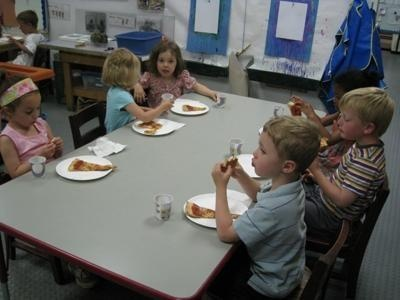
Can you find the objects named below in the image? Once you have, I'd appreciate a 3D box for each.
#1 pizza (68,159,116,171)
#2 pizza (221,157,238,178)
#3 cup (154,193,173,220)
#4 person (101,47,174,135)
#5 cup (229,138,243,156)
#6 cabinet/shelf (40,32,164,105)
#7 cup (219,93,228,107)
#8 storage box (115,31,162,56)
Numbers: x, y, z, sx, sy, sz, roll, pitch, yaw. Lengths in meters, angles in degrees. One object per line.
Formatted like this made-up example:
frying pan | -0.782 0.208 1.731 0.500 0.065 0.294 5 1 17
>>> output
pizza | -0.618 0.093 1.635 0.151 0.020 0.100 7 18 -4
pizza | 0.150 0.074 1.420 0.075 0.086 0.051 -32 63 -27
cup | -0.176 0.272 1.375 0.092 0.112 0.099 -1 -8 0
person | -0.508 -0.381 2.394 0.493 0.790 0.498 28 28 34
cup | 0.206 -0.015 1.707 0.056 0.095 0.058 5 30 -3
cabinet/shelf | -1.558 -1.123 4.614 1.220 0.992 0.699 11 27 14
cup | 0.205 -0.441 2.636 0.078 0.107 0.101 5 14 19
storage box | -0.838 -1.467 3.998 0.591 0.296 0.778 7 17 23
